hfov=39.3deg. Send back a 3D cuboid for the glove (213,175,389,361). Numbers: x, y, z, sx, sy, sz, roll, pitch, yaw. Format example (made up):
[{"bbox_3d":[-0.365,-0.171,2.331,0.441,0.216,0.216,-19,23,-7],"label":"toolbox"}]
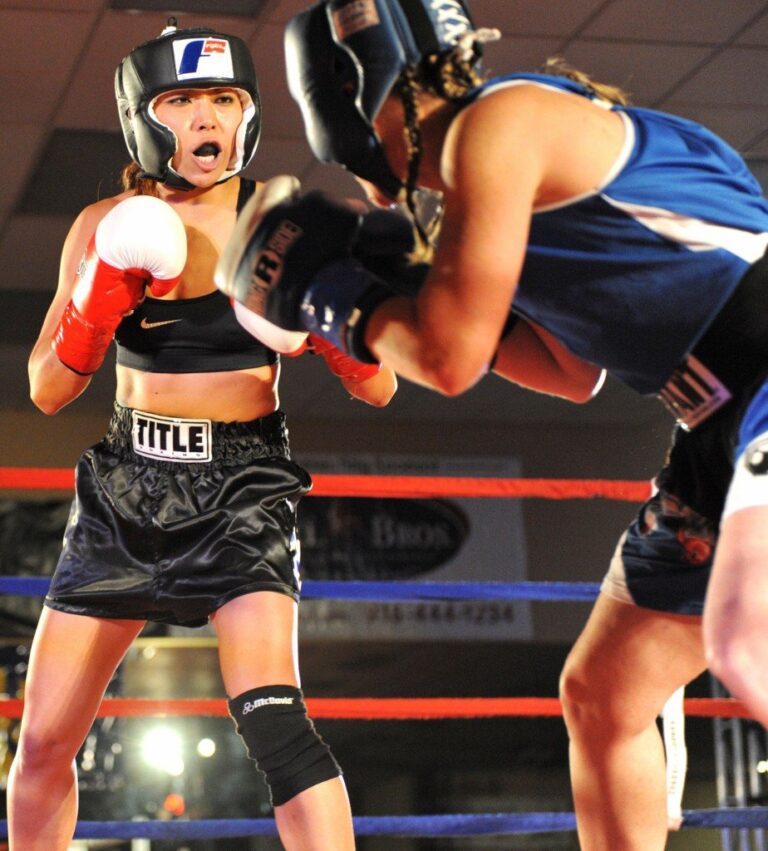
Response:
[{"bbox_3d":[-0.128,-0.230,1.521,0.222,0.189,0.292,12,13,-34],"label":"glove"}]

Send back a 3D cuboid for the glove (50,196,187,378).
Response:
[{"bbox_3d":[-0.456,-0.246,1.858,0.219,0.314,0.181,3,33,-11],"label":"glove"}]
